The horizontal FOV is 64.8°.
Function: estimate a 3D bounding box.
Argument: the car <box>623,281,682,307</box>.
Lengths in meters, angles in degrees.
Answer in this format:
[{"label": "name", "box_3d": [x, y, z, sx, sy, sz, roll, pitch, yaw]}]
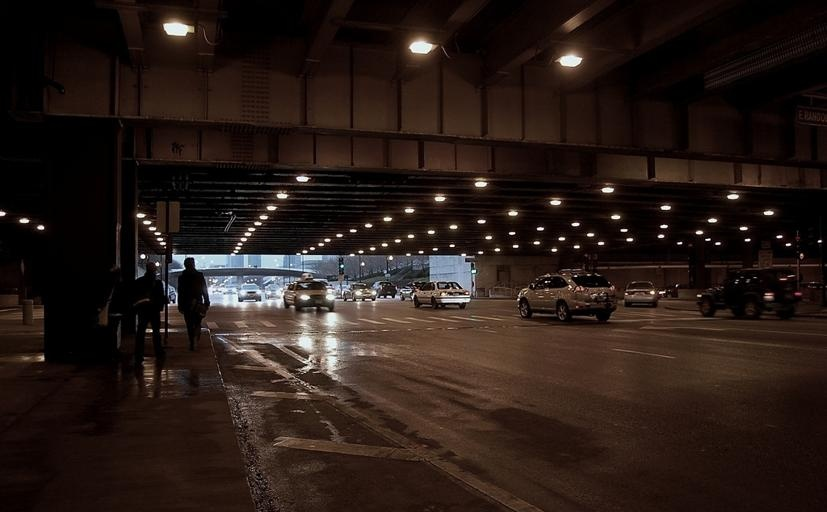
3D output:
[{"label": "car", "box_3d": [16.954, 2.819, 48.736, 2.329, 1.780, 2.105, -2, -3, 14]}]

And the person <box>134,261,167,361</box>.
[{"label": "person", "box_3d": [-7.427, 1.533, 18.314, 0.765, 2.805, 1.351, -1, -2, -20]}]

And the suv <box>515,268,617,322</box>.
[{"label": "suv", "box_3d": [8.205, 2.071, 34.286, 3.483, 2.579, 5.837, -1, -3, -21]}]

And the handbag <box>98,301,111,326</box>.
[{"label": "handbag", "box_3d": [-8.267, 1.532, 17.438, 0.182, 0.532, 0.405, 9, -12, -22]}]
